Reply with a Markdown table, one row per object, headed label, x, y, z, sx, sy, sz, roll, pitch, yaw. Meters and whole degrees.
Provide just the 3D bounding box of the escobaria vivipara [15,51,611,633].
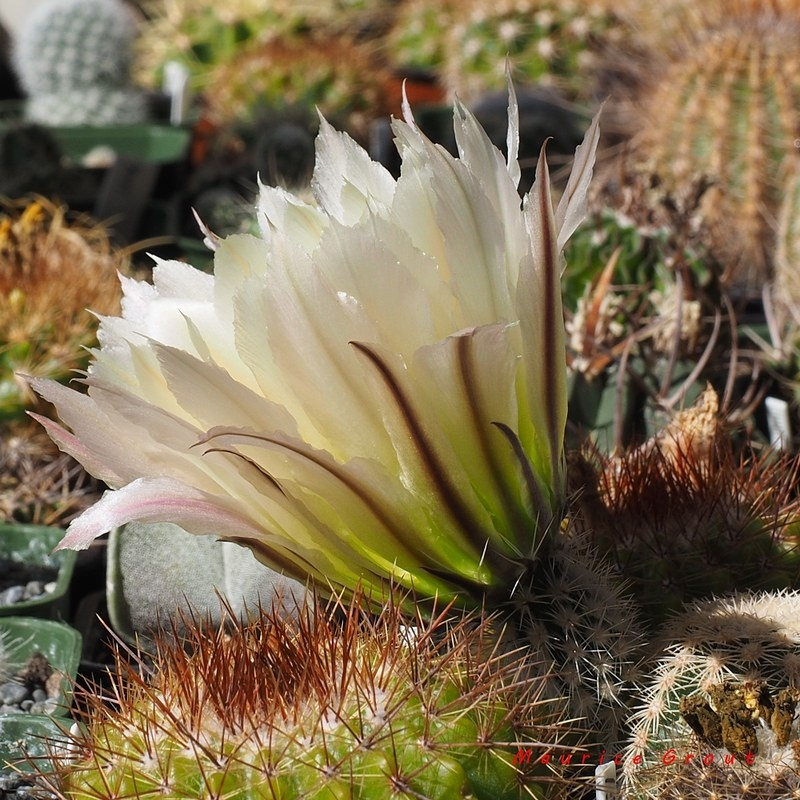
| label | x | y | z | sx | sy | sz | roll | pitch | yaw |
| --- | --- | --- | --- | --- | --- | --- | --- | --- | --- |
| escobaria vivipara | -0.053 | 0.030 | 0.589 | 0.327 | 0.336 | 0.215 | -2 | 41 | 10 |
